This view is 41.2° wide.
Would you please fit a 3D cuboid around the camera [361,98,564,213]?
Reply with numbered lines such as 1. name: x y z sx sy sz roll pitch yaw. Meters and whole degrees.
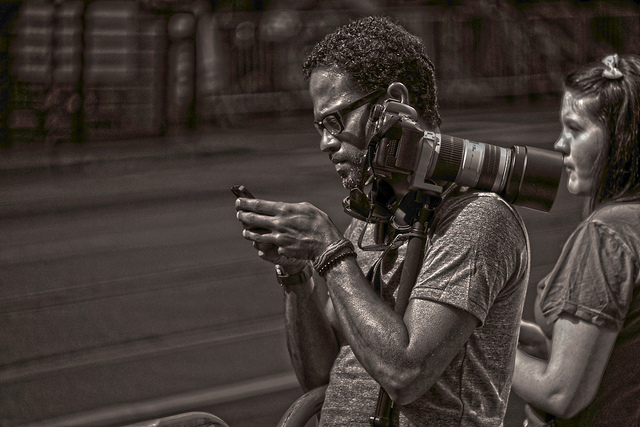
1. camera: 0.637 -0.201 3.580 0.921 0.384 0.345 19 12 0

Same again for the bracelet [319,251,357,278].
1. bracelet: 0.068 0.196 3.458 0.118 0.034 0.102 -40 24 -8

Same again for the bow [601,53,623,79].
1. bow: 1.357 -0.674 3.938 0.082 0.116 0.032 -8 -38 18
